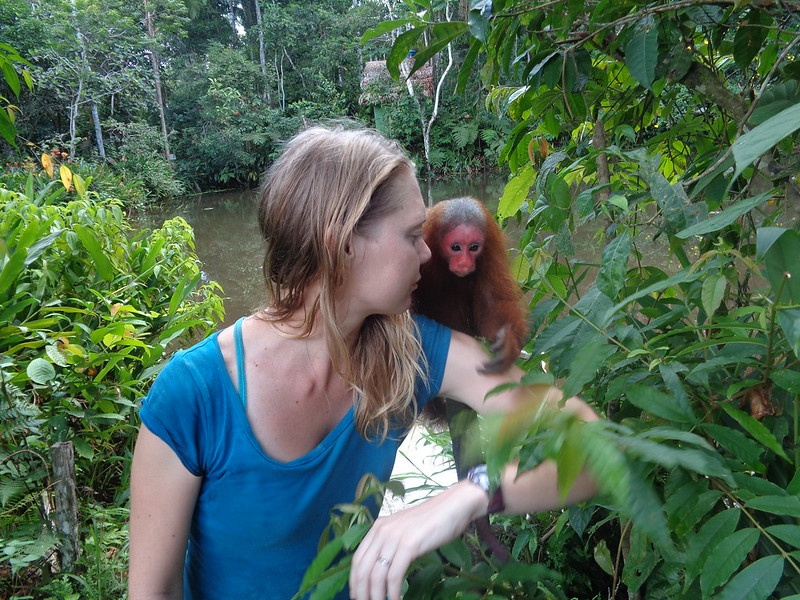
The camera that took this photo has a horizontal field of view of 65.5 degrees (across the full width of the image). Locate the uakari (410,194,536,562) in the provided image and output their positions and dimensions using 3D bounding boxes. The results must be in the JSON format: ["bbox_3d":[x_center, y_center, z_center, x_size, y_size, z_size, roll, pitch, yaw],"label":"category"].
[{"bbox_3d":[0.172,0.206,1.488,0.220,0.848,0.288,-4,18,-1],"label":"uakari"}]

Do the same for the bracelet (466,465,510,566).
[{"bbox_3d":[0.152,0.386,1.088,0.069,0.119,0.185,1,17,6],"label":"bracelet"}]
